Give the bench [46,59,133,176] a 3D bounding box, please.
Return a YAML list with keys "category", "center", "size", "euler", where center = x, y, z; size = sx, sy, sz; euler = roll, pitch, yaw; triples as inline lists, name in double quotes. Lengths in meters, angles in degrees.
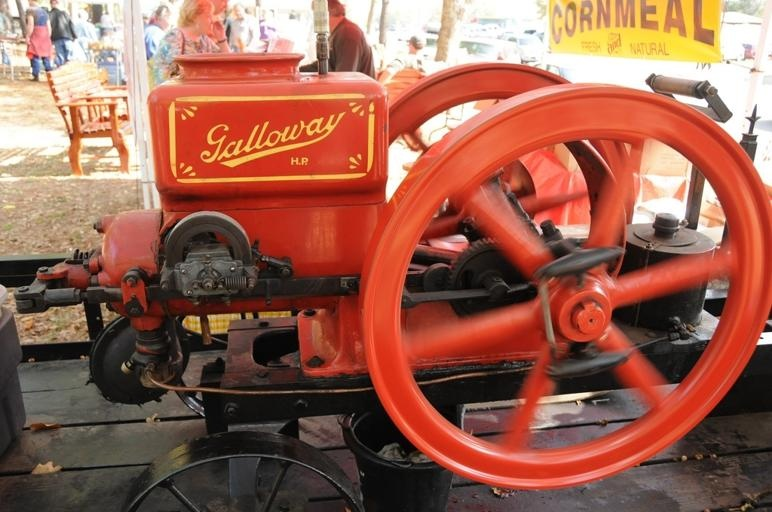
- category: "bench"
  center: [-3.971, -1.796, 7.882]
  size: [0.876, 1.222, 2.248]
  euler: [-3, 38, -14]
